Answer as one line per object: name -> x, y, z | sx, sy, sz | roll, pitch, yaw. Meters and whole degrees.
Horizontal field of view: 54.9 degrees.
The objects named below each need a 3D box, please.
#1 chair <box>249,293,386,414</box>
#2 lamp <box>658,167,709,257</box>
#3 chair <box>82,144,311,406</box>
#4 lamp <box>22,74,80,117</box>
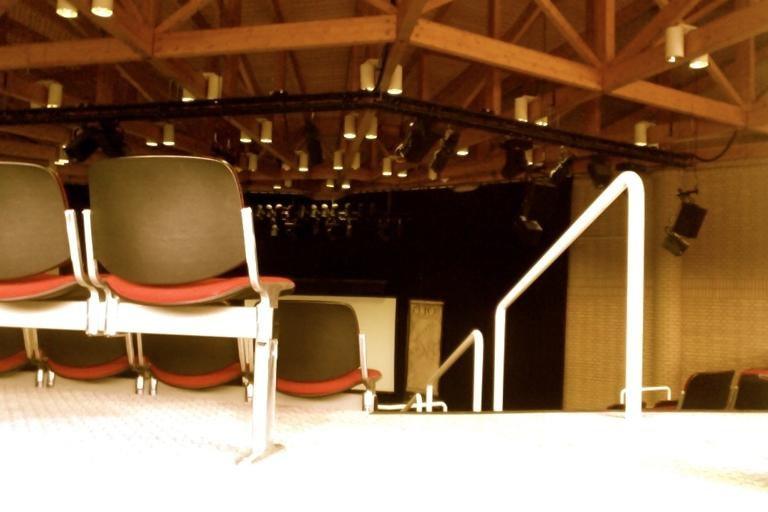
chair -> -0.590, 0.996, 6.803 | 1.102, 1.229, 0.948 | 3, 2, 40
lamp -> 4.280, -0.558, 10.546 | 0.576, 1.239, 1.284 | 6, 12, 23
chair -> -1.455, 0.207, 5.451 | 1.582, 2.010, 1.645 | 10, 14, 37
lamp -> -4.327, -2.089, 9.572 | 0.457, 0.454, 0.463 | 6, 5, 21
